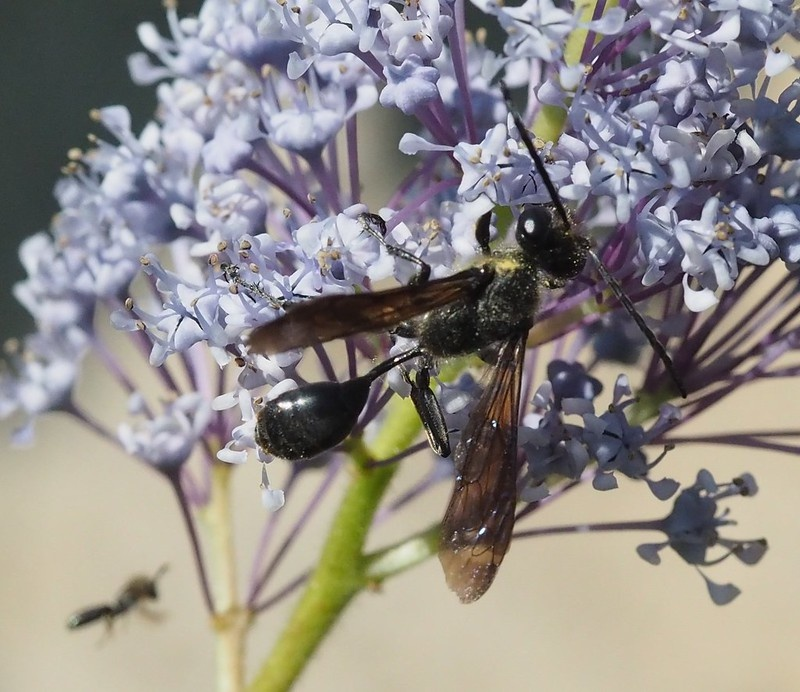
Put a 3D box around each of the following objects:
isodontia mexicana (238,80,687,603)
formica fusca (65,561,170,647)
[{"bbox_3d":[0.049,0.013,2.301,0.639,0.859,0.286,-12,18,-8],"label":"isodontia mexicana"},{"bbox_3d":[-0.584,0.541,2.807,0.239,0.088,0.080,-18,0,1],"label":"formica fusca"}]
